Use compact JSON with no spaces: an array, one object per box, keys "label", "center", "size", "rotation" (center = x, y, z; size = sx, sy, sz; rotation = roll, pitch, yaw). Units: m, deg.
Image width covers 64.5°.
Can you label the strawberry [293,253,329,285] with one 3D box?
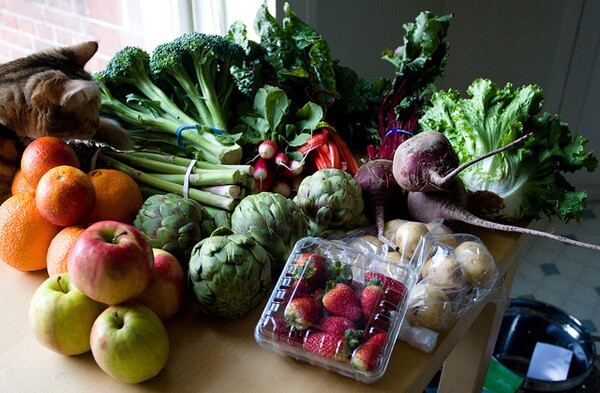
[{"label":"strawberry","center":[0.030,0.193,1.238],"size":[0.073,0.073,0.074],"rotation":[15,48,4]}]

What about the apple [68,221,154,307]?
[{"label":"apple","center":[-0.475,0.174,1.268],"size":[0.185,0.208,0.188],"rotation":[-8,45,-7]}]

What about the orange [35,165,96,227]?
[{"label":"orange","center":[-0.638,-0.004,1.366],"size":[0.146,0.168,0.154],"rotation":[-1,11,-2]}]

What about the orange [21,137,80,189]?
[{"label":"orange","center":[-0.715,-0.095,1.414],"size":[0.133,0.149,0.164],"rotation":[16,2,19]}]

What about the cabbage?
[{"label":"cabbage","center":[0.680,-0.149,1.560],"size":[0.566,0.402,0.289],"rotation":[8,27,8]}]

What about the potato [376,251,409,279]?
[{"label":"potato","center":[0.259,0.184,1.321],"size":[0.058,0.068,0.081],"rotation":[-29,41,-33]}]

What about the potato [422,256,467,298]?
[{"label":"potato","center":[0.412,0.221,1.330],"size":[0.115,0.070,0.089],"rotation":[-15,38,-34]}]

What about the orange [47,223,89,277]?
[{"label":"orange","center":[-0.613,0.143,1.247],"size":[0.096,0.127,0.101],"rotation":[20,-2,7]}]

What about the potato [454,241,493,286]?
[{"label":"potato","center":[0.492,0.183,1.386],"size":[0.087,0.095,0.119],"rotation":[5,33,-36]}]

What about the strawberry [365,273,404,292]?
[{"label":"strawberry","center":[0.223,0.223,1.256],"size":[0.093,0.038,0.046],"rotation":[21,-11,-11]}]

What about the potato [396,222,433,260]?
[{"label":"potato","center":[0.319,0.123,1.393],"size":[0.092,0.097,0.116],"rotation":[3,54,-9]}]

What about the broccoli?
[{"label":"broccoli","center":[-0.485,-0.290,1.746],"size":[0.553,0.284,0.316],"rotation":[30,4,15]}]
